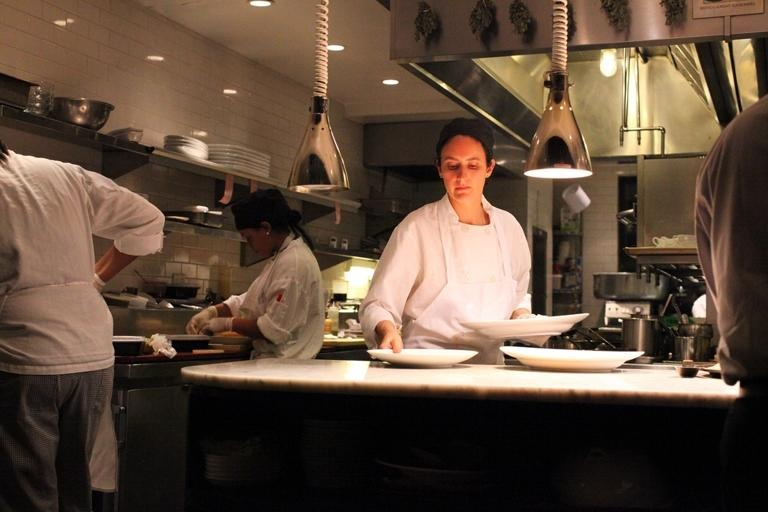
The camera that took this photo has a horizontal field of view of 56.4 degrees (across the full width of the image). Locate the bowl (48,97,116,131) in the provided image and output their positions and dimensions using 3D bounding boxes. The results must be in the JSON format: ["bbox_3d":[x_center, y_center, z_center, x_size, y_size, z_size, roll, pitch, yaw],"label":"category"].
[{"bbox_3d":[-2.049,-0.922,4.761,0.467,0.154,0.459,1,0,0],"label":"bowl"}]

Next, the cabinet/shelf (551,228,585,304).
[{"bbox_3d":[2.689,0.221,10.520,0.400,1.194,0.225,0,5,12],"label":"cabinet/shelf"}]

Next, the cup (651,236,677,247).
[{"bbox_3d":[2.008,-0.101,5.119,0.123,0.050,0.083,-2,-5,32],"label":"cup"}]

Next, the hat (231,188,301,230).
[{"bbox_3d":[-0.771,-0.300,4.653,0.383,0.215,0.269,0,-2,2],"label":"hat"}]

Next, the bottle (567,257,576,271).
[{"bbox_3d":[2.735,0.124,10.505,0.127,0.205,0.081,0,5,11],"label":"bottle"}]

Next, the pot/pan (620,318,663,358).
[{"bbox_3d":[1.667,0.525,4.598,0.352,0.268,0.275,3,-7,-20],"label":"pot/pan"}]

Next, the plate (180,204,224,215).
[{"bbox_3d":[-1.434,-0.358,5.470,0.171,0.038,0.180,0,-3,25],"label":"plate"}]

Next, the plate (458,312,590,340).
[{"bbox_3d":[0.603,0.307,3.115,0.505,0.153,0.310,0,5,8],"label":"plate"}]

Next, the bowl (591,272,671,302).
[{"bbox_3d":[3.226,0.415,9.385,1.015,0.321,0.725,1,-4,9],"label":"bowl"}]

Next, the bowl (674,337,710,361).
[{"bbox_3d":[2.013,0.608,4.677,0.193,0.127,0.168,0,-4,10],"label":"bowl"}]

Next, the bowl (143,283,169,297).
[{"bbox_3d":[-1.748,0.257,5.480,0.137,0.087,0.132,2,-2,0],"label":"bowl"}]

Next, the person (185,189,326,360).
[{"bbox_3d":[-0.750,0.106,4.587,0.911,1.065,0.694,3,6,37],"label":"person"}]

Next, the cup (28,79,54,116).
[{"bbox_3d":[-2.070,-0.952,4.352,0.084,0.193,0.177,1,5,16],"label":"cup"}]

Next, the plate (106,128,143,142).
[{"bbox_3d":[-1.790,-0.845,4.996,0.160,0.061,0.159,-1,-2,32],"label":"plate"}]
